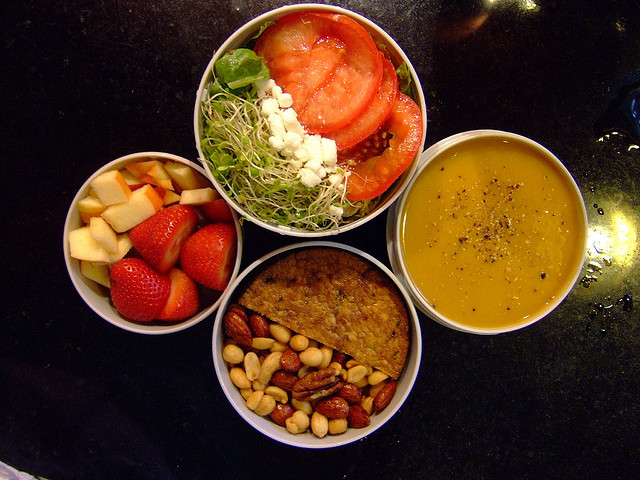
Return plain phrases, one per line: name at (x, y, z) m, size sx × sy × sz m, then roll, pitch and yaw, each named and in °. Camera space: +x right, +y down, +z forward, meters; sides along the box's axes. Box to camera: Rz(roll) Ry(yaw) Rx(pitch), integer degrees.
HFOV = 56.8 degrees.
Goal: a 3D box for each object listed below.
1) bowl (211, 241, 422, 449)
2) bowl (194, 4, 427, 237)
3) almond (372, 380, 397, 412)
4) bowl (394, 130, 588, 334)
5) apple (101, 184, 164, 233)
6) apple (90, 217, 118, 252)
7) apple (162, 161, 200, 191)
bowl at (-0.023, 0.458, 2.856) m, size 0.832 × 0.229 × 1.007 m, roll 0°, pitch 94°, yaw -1°
bowl at (-0.101, -0.706, 2.770) m, size 0.974 × 1.048 × 0.780 m, roll -13°, pitch 36°, yaw -19°
almond at (0.309, 0.754, 2.906) m, size 0.073 × 0.059 × 0.164 m, roll 38°, pitch 83°, yaw 16°
bowl at (0.820, -0.038, 2.992) m, size 0.818 × 0.276 × 1.034 m, roll 0°, pitch 94°, yaw -4°
apple at (-0.872, -0.127, 2.912) m, size 0.311 × 0.244 × 0.189 m, roll -30°, pitch 75°, yaw 7°
apple at (-1.009, -0.030, 2.772) m, size 0.082 × 0.112 × 0.174 m, roll -35°, pitch 85°, yaw -7°
apple at (-0.651, -0.298, 2.755) m, size 0.135 × 0.069 × 0.125 m, roll 22°, pitch 102°, yaw -6°
